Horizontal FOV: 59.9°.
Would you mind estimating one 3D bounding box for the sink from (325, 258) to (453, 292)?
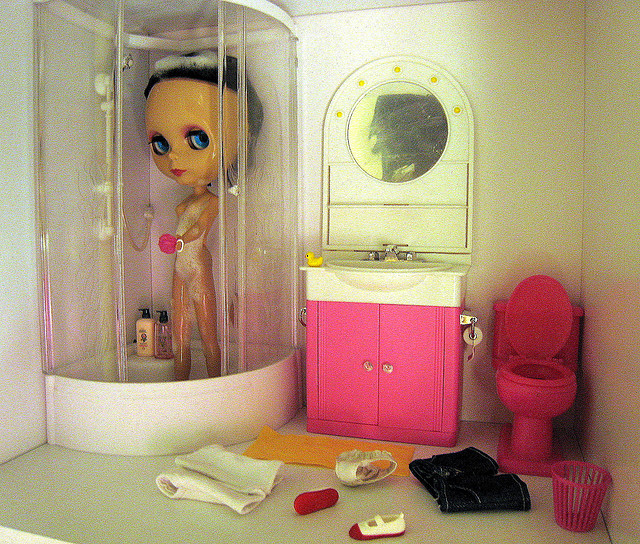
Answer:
[{"bbox_3d":[0.305,0.013,2.727,0.568,0.126,0.417,8,14,32],"label":"sink"}]

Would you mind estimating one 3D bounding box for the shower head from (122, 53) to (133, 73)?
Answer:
[{"bbox_3d":[-0.856,-0.931,2.465,0.038,0.094,0.073,4,9,-3],"label":"shower head"}]

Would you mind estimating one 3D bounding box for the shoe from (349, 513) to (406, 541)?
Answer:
[{"bbox_3d":[0.199,0.886,1.959,0.201,0.072,0.075,0,5,-6],"label":"shoe"}]

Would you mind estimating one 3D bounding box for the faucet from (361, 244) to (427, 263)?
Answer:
[{"bbox_3d":[0.375,-0.088,2.890,0.333,0.091,0.194,3,12,12],"label":"faucet"}]

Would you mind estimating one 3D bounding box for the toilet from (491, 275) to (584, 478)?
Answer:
[{"bbox_3d":[1.010,0.453,2.565,0.448,0.801,0.607,3,8,15],"label":"toilet"}]
